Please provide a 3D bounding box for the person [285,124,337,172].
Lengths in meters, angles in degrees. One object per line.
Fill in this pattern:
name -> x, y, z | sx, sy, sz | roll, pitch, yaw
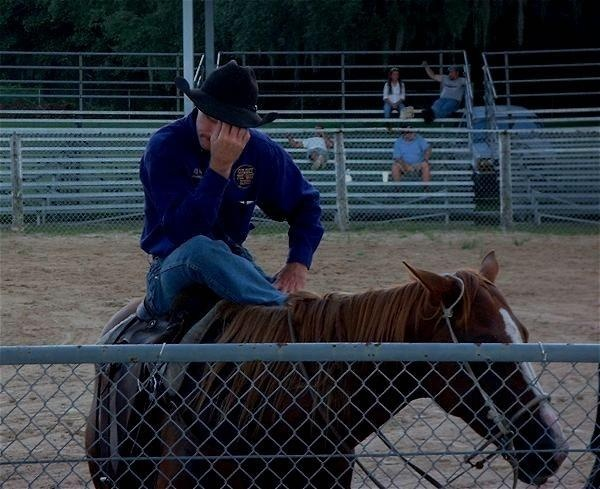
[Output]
person -> 0.369, -2.398, 41.357 | 0.953, 0.444, 1.208 | 37, 16, 16
